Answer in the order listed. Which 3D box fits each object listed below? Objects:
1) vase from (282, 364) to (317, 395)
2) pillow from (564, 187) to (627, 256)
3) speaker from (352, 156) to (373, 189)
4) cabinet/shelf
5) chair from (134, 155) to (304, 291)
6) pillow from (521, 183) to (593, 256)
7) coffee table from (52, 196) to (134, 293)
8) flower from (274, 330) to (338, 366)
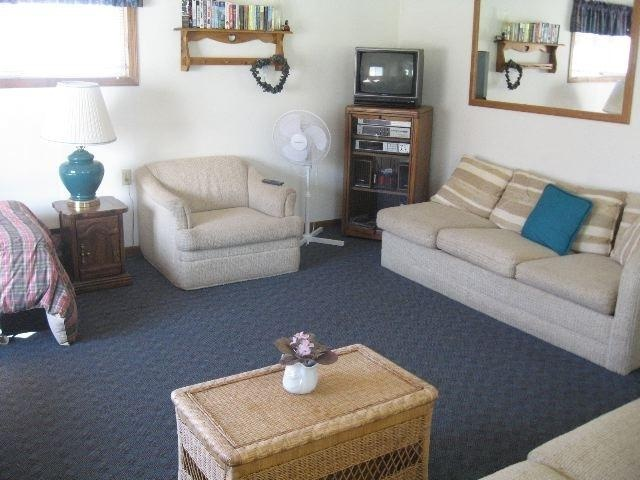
[{"bbox_3d":[-0.087,0.580,2.271,0.134,0.136,0.132,3,3,-26],"label":"vase"},{"bbox_3d":[2.041,-0.137,3.881,0.166,0.440,0.448,16,-2,-43],"label":"pillow"},{"bbox_3d":[0.445,-0.684,5.404,0.272,0.398,0.273,1,10,8],"label":"speaker"},{"bbox_3d":[0.643,-0.814,5.336,0.767,1.313,0.463,9,42,13],"label":"cabinet/shelf"},{"bbox_3d":[-0.998,-0.362,4.729,1.277,0.984,1.236,-7,17,-28],"label":"chair"},{"bbox_3d":[1.774,-0.162,3.946,0.482,0.484,0.195,36,11,39],"label":"pillow"},{"bbox_3d":[-1.796,-0.040,4.465,0.714,0.919,0.674,-7,17,-30],"label":"coffee table"},{"bbox_3d":[-0.077,0.469,2.238,0.172,0.076,0.173,8,10,17],"label":"flower"}]
